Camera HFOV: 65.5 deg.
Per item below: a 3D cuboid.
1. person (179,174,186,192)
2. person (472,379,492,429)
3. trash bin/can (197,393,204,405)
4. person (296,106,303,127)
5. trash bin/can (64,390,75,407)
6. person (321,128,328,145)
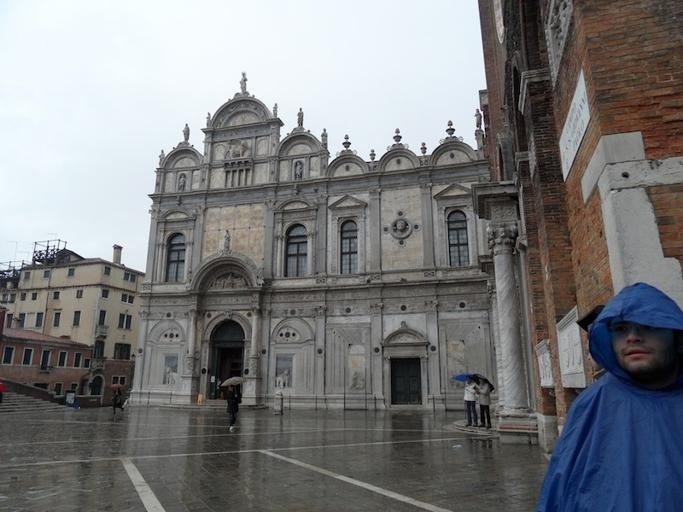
[{"bbox_3d":[-10.203,-4.756,33.965,0.563,1.225,0.157,-8,-17,23],"label":"person"},{"bbox_3d":[4.453,4.508,16.510,0.506,1.515,1.367,-4,-15,12],"label":"person"},{"bbox_3d":[-7.703,7.768,29.121,0.337,0.609,0.895,3,-15,-13],"label":"trash bin/can"},{"bbox_3d":[-2.519,-8.695,32.871,0.220,1.480,0.840,3,-16,-14],"label":"person"},{"bbox_3d":[-16.257,8.510,31.825,0.520,0.859,0.677,4,-16,-17],"label":"trash bin/can"},{"bbox_3d":[-1.001,-7.274,31.388,0.264,0.997,1.099,2,-15,-10],"label":"person"}]
